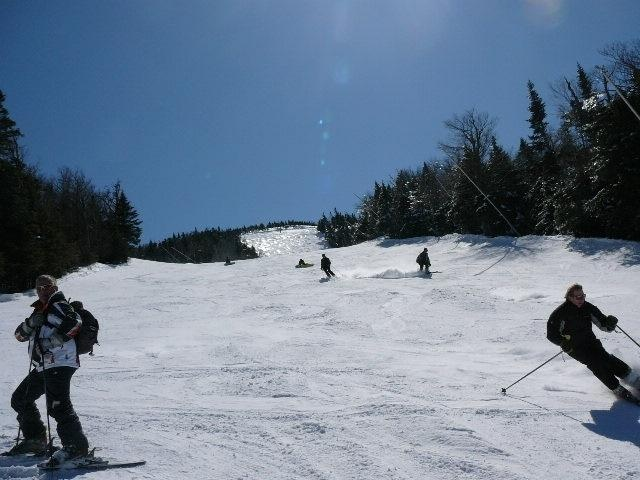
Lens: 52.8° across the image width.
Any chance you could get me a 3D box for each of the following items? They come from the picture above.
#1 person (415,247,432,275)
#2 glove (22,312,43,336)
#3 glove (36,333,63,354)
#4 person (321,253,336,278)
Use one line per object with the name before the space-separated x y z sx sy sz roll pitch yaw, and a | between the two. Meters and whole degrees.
person | 5.531 1.158 34.488 0.591 1.854 0.940 -10 10 -28
glove | -7.505 2.151 16.512 0.698 0.441 0.270 -47 -29 16
glove | -7.010 2.653 16.595 0.434 0.522 0.609 4 2 39
person | 0.360 1.384 34.998 0.652 1.162 1.388 -1 2 2
